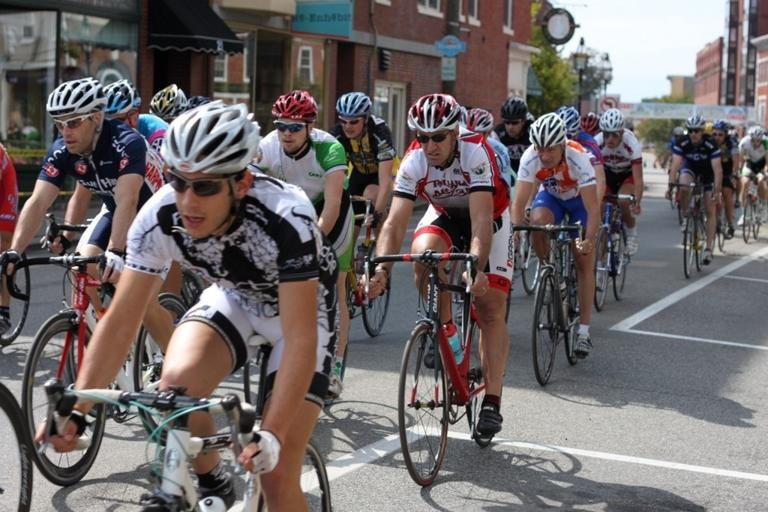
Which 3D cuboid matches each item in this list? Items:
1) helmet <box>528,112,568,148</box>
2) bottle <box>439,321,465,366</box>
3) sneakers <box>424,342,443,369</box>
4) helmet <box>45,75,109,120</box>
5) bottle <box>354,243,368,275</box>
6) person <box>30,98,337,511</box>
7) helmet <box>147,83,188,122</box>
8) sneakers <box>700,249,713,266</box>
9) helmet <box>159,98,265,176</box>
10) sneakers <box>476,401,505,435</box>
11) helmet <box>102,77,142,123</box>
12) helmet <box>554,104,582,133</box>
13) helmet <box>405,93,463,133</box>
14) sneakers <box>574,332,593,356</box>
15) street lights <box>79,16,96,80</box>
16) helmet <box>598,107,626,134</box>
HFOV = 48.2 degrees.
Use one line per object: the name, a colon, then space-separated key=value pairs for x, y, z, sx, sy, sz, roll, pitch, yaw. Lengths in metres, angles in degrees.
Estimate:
helmet: x=1.696 y=-1.296 z=8.773 sx=0.270 sy=0.205 sz=0.412 roll=8 pitch=39 yaw=21
bottle: x=0.542 y=0.663 z=6.576 sx=0.175 sy=0.306 sz=0.289 roll=-19 pitch=-36 yaw=12
sneakers: x=0.351 y=0.730 z=6.260 sx=0.150 sy=0.172 sz=0.130 roll=1 pitch=20 yaw=7
helmet: x=-2.382 y=-1.249 z=6.663 sx=0.287 sy=0.237 sz=0.413 roll=4 pitch=14 yaw=21
bottle: x=-0.246 y=0.030 z=9.222 sx=0.205 sy=0.320 sz=0.310 roll=1 pitch=15 yaw=6
person: x=-0.911 y=0.331 z=4.669 sx=1.259 sy=2.314 sz=1.027 roll=2 pitch=9 yaw=-1
helmet: x=-2.287 y=-1.656 z=9.247 sx=0.335 sy=0.265 sz=0.523 roll=9 pitch=43 yaw=-3
sneakers: x=5.474 y=0.004 z=14.584 sx=0.226 sy=0.253 sz=0.094 roll=7 pitch=-15 yaw=9
helmet: x=-0.877 y=-0.677 z=4.545 sx=0.326 sy=0.176 sz=0.490 roll=14 pitch=39 yaw=7
sneakers: x=0.821 y=1.295 z=6.732 sx=0.190 sy=0.339 sz=0.214 roll=3 pitch=9 yaw=8
helmet: x=-2.350 y=-1.448 z=7.765 sx=0.322 sy=0.423 sz=0.444 roll=3 pitch=24 yaw=-5
helmet: x=2.349 y=-1.743 z=10.899 sx=0.410 sy=0.228 sz=0.603 roll=24 pitch=7 yaw=17
helmet: x=0.390 y=-1.116 z=6.654 sx=0.385 sy=0.297 sz=0.268 roll=2 pitch=10 yaw=1
sneakers: x=2.077 y=0.940 z=8.939 sx=0.114 sy=0.169 sz=0.335 roll=0 pitch=-23 yaw=11
street lights: x=-6.385 y=-4.596 z=18.589 sx=0.239 sy=1.244 sz=0.146 roll=-3 pitch=10 yaw=-25
helmet: x=3.381 y=-2.046 z=12.729 sx=0.264 sy=0.236 sz=0.422 roll=4 pitch=31 yaw=18
